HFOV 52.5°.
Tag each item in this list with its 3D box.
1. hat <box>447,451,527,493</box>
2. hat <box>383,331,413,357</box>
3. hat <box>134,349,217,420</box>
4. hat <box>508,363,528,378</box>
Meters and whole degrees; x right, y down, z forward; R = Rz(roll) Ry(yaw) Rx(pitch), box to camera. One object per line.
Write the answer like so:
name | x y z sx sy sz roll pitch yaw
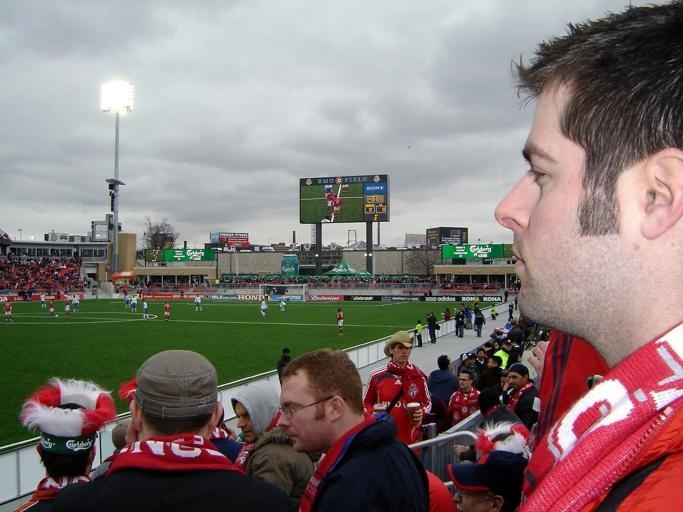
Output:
hat | 0.936 1.344 4.274 0.566 0.291 0.351 -2 -3 13
hat | 0.697 1.070 8.310 0.323 0.231 0.428 3 -9 -7
hat | -0.866 0.604 3.617 0.344 0.215 0.361 1 12 -14
hat | 2.084 1.322 8.087 0.184 0.166 0.139 32 2 22
